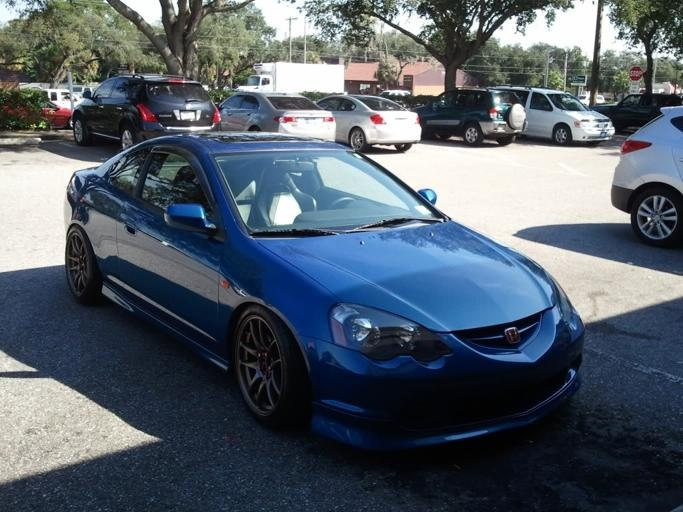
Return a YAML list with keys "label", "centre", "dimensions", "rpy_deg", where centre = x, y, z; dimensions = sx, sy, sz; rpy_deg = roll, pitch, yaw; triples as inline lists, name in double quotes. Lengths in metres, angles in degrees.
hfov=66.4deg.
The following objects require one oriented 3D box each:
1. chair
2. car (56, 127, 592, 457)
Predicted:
- label: "chair"
  centre: [-0.461, -0.463, 4.015]
  dimensions: [0.463, 0.636, 0.520]
  rpy_deg: [-1, -8, -19]
- label: "car"
  centre: [-0.567, 0.103, 4.159]
  dimensions: [1.949, 1.279, 4.091]
  rpy_deg: [-10, 22, -40]
